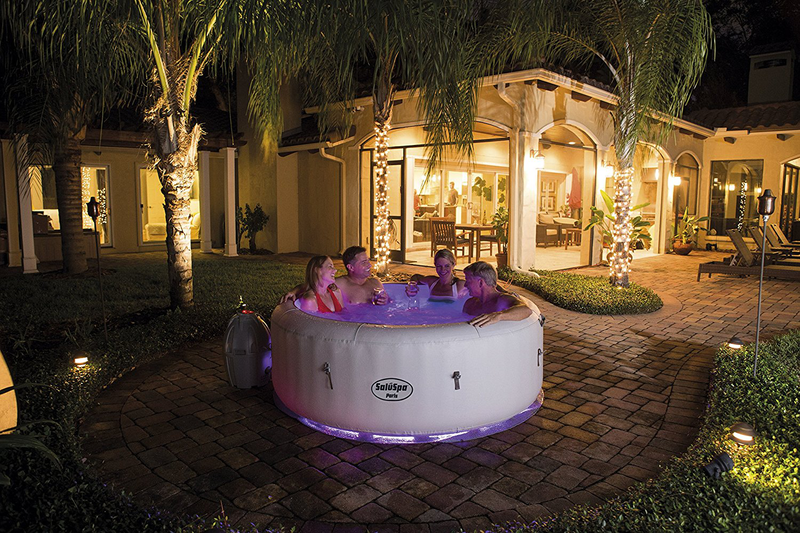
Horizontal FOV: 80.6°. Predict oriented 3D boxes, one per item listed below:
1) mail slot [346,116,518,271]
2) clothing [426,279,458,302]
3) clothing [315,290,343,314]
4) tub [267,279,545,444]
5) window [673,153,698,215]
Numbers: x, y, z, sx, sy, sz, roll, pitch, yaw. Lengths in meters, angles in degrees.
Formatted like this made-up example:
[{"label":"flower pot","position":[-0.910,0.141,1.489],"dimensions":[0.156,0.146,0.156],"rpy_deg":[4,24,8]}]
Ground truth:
[{"label":"mail slot","position":[1.151,-2.258,14.789],"dimensions":[3.622,4.868,6.960],"rpy_deg":[2,6,28]},{"label":"clothing","position":[0.567,0.323,6.208],"dimensions":[0.452,0.472,0.249],"rpy_deg":[0,-2,30]},{"label":"clothing","position":[-0.801,0.331,5.248],"dimensions":[0.182,0.291,0.365],"rpy_deg":[-4,-3,21]},{"label":"tub","position":[0.179,0.829,5.368],"dimensions":[2.816,1.144,2.976],"rpy_deg":[-3,7,-6]},{"label":"window","position":[9.899,-2.925,16.354],"dimensions":[0.096,2.813,1.934],"rpy_deg":[2,5,42]}]
